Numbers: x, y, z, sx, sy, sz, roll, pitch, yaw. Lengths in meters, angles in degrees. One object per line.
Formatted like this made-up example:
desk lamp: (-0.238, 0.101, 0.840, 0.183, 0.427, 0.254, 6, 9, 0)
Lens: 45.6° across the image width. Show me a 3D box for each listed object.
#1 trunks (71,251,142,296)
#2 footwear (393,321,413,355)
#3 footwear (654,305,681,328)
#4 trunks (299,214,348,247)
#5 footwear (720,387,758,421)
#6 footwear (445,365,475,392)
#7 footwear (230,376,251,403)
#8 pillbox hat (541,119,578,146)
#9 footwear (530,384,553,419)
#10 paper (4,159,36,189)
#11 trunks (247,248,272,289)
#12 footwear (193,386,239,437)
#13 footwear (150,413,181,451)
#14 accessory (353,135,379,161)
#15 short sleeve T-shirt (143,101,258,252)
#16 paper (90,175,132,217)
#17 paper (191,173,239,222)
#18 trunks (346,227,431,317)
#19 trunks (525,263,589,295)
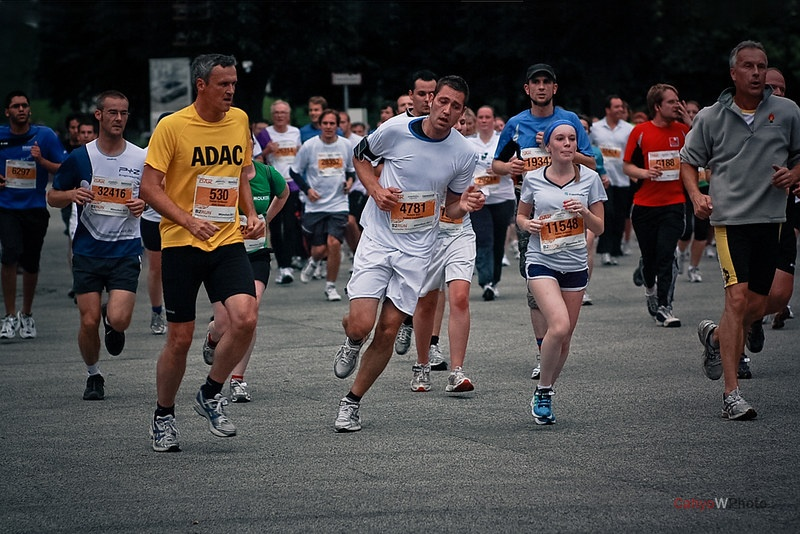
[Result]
trunks: (-2.854, 0.065, 9.251, 0.672, 0.508, 0.374, 1, -16, -20)
footwear: (0.043, 0.763, 10.282, 0.150, 0.425, 0.171, 8, 4, -2)
footwear: (3.361, 0.612, 11.748, 0.149, 0.190, 0.420, -2, 2, -18)
trunks: (-1.180, -0.646, 14.920, 0.830, 0.701, 0.471, 1, -3, 0)
footwear: (2.823, 1.159, 8.017, 0.161, 0.177, 0.368, 0, -2, -21)
footwear: (0.571, 1.058, 8.889, 0.149, 0.161, 0.358, 2, -6, -17)
footwear: (-1.503, 1.148, 9.013, 0.141, 0.141, 0.314, 0, -1, -16)
pillbox hat: (1.393, -1.217, 8.449, 0.313, 0.337, 0.140, 2, 19, 2)
footwear: (1.213, 1.133, 8.031, 0.135, 0.146, 0.339, 7, 18, -2)
paper: (-4.715, -1.164, 11.751, 0.386, 0.350, 0.050, -2, 0, -12)
trunks: (-1.338, 0.006, 9.176, 0.233, 0.383, 0.118, -3, 25, -15)
footwear: (-1.477, 1.186, 7.699, 0.337, 0.453, 0.265, 2, 9, 4)
footwear: (-1.890, 1.292, 7.530, 0.305, 0.284, 0.171, 5, 10, 23)
accessory: (-0.295, -0.996, 8.270, 0.209, 0.097, 0.213, -36, 22, 12)
short sleeve T-shirt: (-1.541, -0.705, 7.509, 0.523, 1.117, 0.810, 6, 10, 30)
paper: (-2.898, -0.702, 9.490, 0.459, 0.439, 0.043, 1, -21, -16)
paper: (-1.464, -0.548, 7.445, 0.377, 0.345, 0.055, 6, -7, -19)
trunks: (-0.060, 0.043, 8.054, 0.607, 0.669, 0.376, 20, -26, -3)
trunks: (1.382, 0.100, 8.176, 0.427, 0.141, 0.253, -1, 6, -7)
